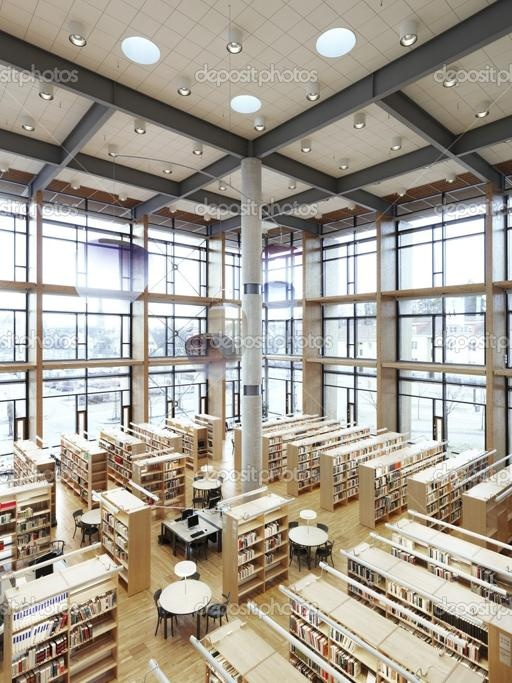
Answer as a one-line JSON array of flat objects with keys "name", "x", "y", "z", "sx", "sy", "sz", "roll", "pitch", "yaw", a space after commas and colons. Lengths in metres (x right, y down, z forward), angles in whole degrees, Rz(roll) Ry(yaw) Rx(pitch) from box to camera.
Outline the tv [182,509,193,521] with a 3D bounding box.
[{"name": "tv", "x": -1.332, "y": 3.339, "z": 10.485, "sx": 0.196, "sy": 0.177, "sz": 0.099, "roll": 4, "pitch": 2, "yaw": -21}]

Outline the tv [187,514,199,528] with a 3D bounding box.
[{"name": "tv", "x": -1.192, "y": 3.350, "z": 10.225, "sx": 0.284, "sy": 0.260, "sz": 0.160, "roll": 1, "pitch": -2, "yaw": -28}]
